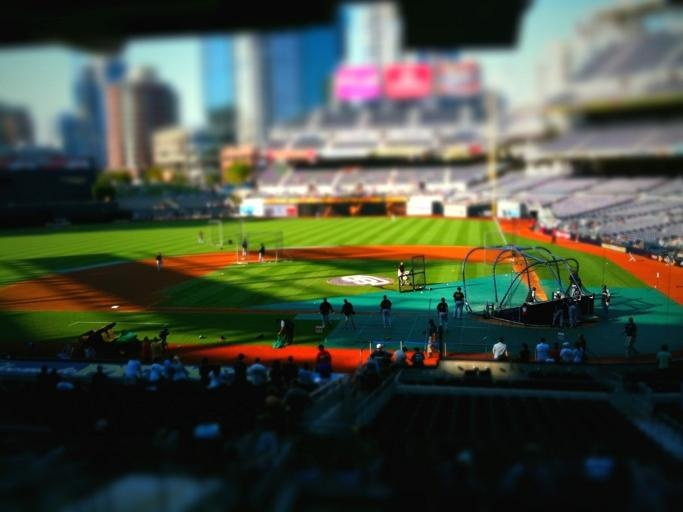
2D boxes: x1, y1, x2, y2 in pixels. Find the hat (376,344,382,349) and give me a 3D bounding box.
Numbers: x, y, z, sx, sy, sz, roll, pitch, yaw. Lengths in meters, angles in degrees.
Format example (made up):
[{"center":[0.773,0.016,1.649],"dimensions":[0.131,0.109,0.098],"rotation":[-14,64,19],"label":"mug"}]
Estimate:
[{"center":[0.930,2.237,16.719],"dimensions":[0.176,0.123,0.267],"rotation":[0,-3,2],"label":"hat"}]
